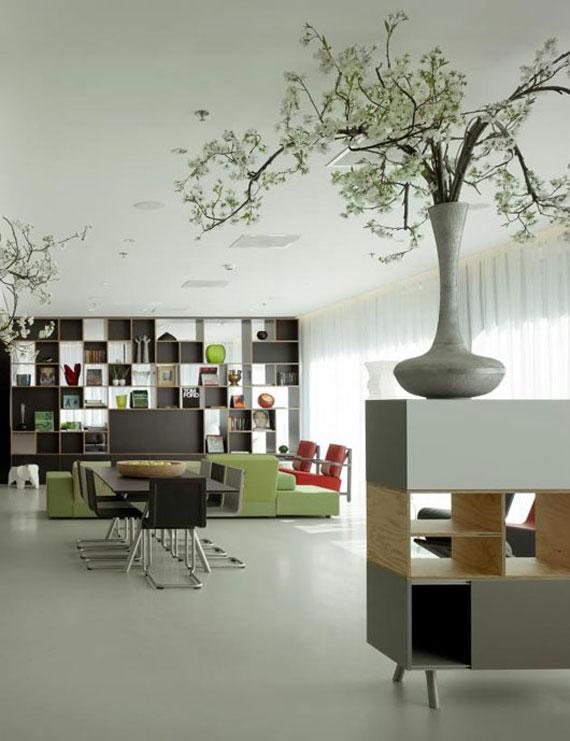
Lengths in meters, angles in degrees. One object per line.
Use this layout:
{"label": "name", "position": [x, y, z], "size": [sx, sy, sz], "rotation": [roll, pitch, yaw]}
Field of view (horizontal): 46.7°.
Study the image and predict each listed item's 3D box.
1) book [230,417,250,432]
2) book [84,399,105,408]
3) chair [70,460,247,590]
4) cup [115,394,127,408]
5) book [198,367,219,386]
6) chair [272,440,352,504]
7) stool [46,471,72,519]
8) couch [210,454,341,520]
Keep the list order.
{"label": "book", "position": [-0.872, 1.050, 12.895], "size": [0.357, 0.235, 0.253], "rotation": [-1, -2, -1]}
{"label": "book", "position": [-3.557, 0.624, 12.448], "size": [0.383, 0.172, 0.167], "rotation": [2, -5, -17]}
{"label": "chair", "position": [-1.148, 1.286, 5.908], "size": [1.316, 0.839, 2.308], "rotation": [2, -5, -17]}
{"label": "cup", "position": [-3.061, 0.583, 12.456], "size": [0.221, 0.278, 0.124], "rotation": [2, -5, -20]}
{"label": "book", "position": [-1.487, 0.119, 12.874], "size": [0.392, 0.367, 0.137], "rotation": [0, -5, -4]}
{"label": "chair", "position": [0.538, 1.685, 10.042], "size": [0.942, 0.898, 1.289], "rotation": [2, -9, -11]}
{"label": "stool", "position": [-2.746, 1.533, 8.080], "size": [0.318, 0.527, 0.576], "rotation": [0, -2, -13]}
{"label": "couch", "position": [-0.102, 1.270, 8.524], "size": [1.219, 0.669, 1.260], "rotation": [1, -3, -13]}
